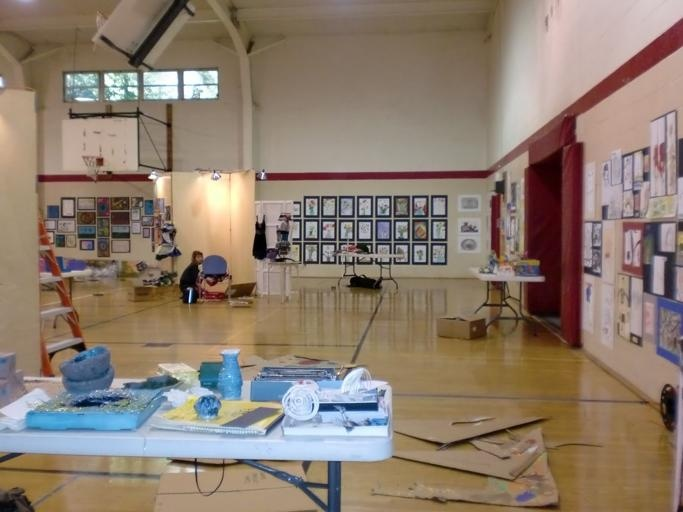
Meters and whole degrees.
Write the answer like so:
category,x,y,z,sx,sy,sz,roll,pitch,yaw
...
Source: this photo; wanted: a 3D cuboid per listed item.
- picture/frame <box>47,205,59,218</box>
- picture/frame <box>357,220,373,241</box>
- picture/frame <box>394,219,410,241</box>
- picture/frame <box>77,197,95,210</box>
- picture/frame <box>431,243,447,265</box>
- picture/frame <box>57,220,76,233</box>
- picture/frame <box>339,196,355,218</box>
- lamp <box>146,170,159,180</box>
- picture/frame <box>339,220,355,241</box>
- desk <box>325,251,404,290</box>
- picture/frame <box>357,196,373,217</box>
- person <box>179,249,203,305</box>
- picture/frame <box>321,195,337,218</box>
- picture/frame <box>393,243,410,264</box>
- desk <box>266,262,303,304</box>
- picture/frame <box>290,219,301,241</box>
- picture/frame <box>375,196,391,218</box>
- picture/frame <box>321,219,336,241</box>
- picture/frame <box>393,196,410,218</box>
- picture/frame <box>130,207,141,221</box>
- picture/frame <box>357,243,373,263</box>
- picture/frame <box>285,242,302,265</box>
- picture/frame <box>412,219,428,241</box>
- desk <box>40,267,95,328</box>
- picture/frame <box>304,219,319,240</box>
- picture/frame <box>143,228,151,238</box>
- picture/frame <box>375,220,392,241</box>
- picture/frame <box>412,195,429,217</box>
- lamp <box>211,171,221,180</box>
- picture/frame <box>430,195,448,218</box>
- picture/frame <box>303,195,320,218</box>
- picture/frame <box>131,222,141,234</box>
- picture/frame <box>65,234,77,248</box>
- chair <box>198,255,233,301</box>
category,x,y,z,sx,sy,sz,roll,pitch,yaw
picture/frame,-8.291,-1.310,16.427,0.338,0.359,0.034,1,2,-4
picture/frame,0.628,-0.753,15.706,0.517,0.739,0.081,0,5,-2
picture/frame,1.641,-0.747,15.599,0.535,0.777,0.087,0,2,3
picture/frame,-7.301,-1.530,16.361,0.350,0.274,0.036,1,0,-3
picture/frame,2.623,-0.087,15.464,0.559,0.786,0.077,0,0,3
picture/frame,-7.909,-0.887,16.465,0.326,0.285,0.033,2,14,-1
picture/frame,0.140,-1.380,15.648,0.538,0.705,0.067,1,2,-4
lamp,-4.332,-1.851,13.199,0.192,0.195,1.213,-3,6,-20
picture/frame,0.134,-0.751,15.727,0.494,0.722,0.070,0,9,2
desk,0.652,0.228,14.061,1.814,0.998,3.118,0,6,5
picture/frame,0.635,-1.394,15.620,0.525,0.707,0.072,0,11,1
person,-2.971,0.386,11.245,0.399,0.946,0.826,-2,6,-9
picture/frame,-0.350,-1.392,15.668,0.563,0.788,0.085,1,2,-2
picture/frame,1.604,-0.070,15.247,0.526,0.757,0.076,1,-5,11
desk,-1.140,0.475,11.916,0.690,0.765,0.679,-1,-6,-4
picture/frame,-1.244,-0.722,15.840,0.218,0.598,0.316,-2,6,-12
picture/frame,1.135,-1.380,15.579,0.542,0.734,0.078,1,2,-2
picture/frame,-0.360,-0.763,15.764,0.542,0.766,0.077,0,3,2
picture/frame,1.630,-1.378,15.535,0.536,0.733,0.078,1,1,0
picture/frame,-5.865,-1.206,16.278,0.332,0.413,0.041,3,-2,-1
picture/frame,0.545,-0.077,13.883,0.422,0.575,0.584,1,3,4
picture/frame,-1.211,0.030,14.857,0.446,0.890,0.811,1,-4,0
picture/frame,2.125,-0.742,15.520,0.557,0.748,0.079,0,1,5
desk,-4.205,0.639,8.746,0.858,0.880,0.700,-1,0,-3
picture/frame,-0.842,-0.771,15.828,0.518,0.729,0.068,0,5,-2
picture/frame,-5.510,-0.681,16.173,0.264,0.323,0.034,1,-1,1
picture/frame,1.132,-0.745,15.662,0.529,0.722,0.075,0,4,-3
picture/frame,2.132,-1.381,15.470,0.551,0.725,0.075,0,3,0
lamp,-2.639,-1.692,12.008,0.159,0.172,0.155,5,15,24
picture/frame,2.622,-1.374,15.405,0.556,0.751,0.073,0,1,4
picture/frame,-0.833,-1.400,15.704,0.542,0.744,0.072,1,6,6
picture/frame,-5.845,-0.812,16.260,0.330,0.401,0.019,0,-2,-5
picture/frame,-7.809,-0.453,16.500,0.372,0.463,0.034,0,5,5
chair,-2.701,0.368,12.135,0.683,0.970,0.565,1,25,-7
